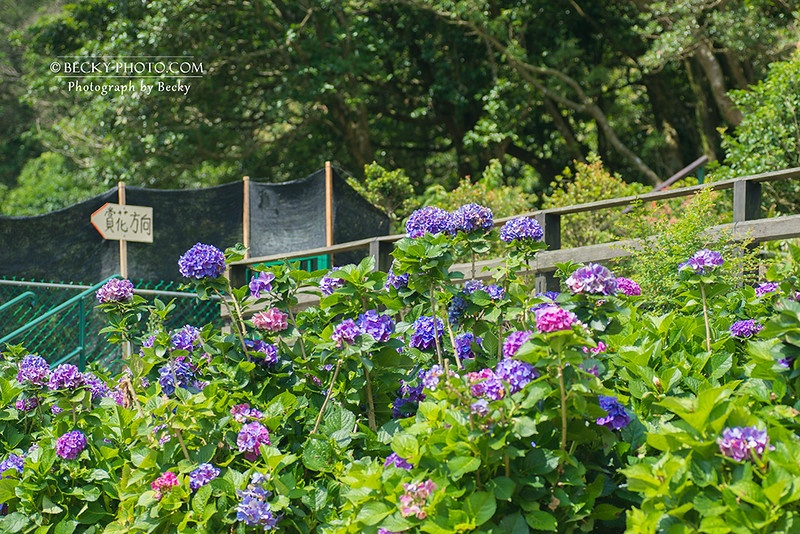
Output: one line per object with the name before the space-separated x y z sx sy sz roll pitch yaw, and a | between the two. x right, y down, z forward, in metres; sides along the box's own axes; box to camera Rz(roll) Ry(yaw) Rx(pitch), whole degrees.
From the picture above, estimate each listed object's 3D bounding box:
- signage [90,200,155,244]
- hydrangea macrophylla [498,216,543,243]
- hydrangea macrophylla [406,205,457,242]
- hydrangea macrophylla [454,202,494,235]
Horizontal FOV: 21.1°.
signage | -4.693 -0.762 36.115 1.244 0.730 0.246 -10 6 -43
hydrangea macrophylla | 1.744 -0.539 31.964 0.418 0.332 0.441 0 -4 -20
hydrangea macrophylla | 0.405 -0.673 31.867 0.544 0.476 0.499 -5 -6 44
hydrangea macrophylla | 1.060 -0.738 31.943 0.415 0.423 0.486 6 6 38
